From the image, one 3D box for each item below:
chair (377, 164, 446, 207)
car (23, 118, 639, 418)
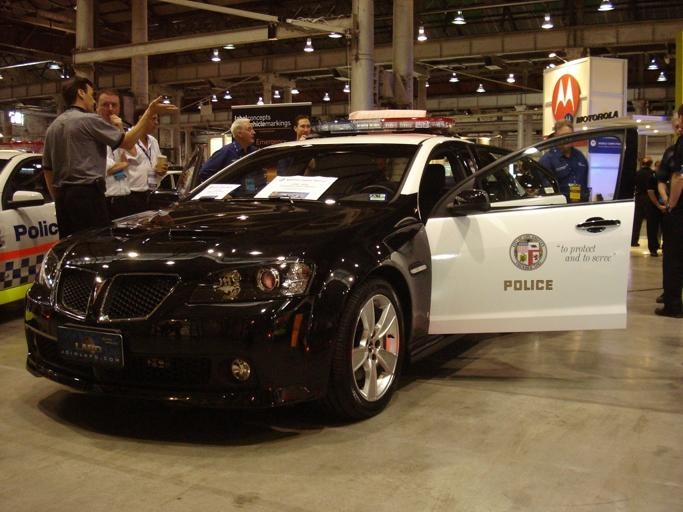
[{"bbox_3d":[0.579,-0.516,3.801,0.257,0.327,0.322,0,5,-7],"label":"chair"},{"bbox_3d":[0.247,0.120,3.496,2.515,0.979,2.986,-1,2,39],"label":"car"}]
